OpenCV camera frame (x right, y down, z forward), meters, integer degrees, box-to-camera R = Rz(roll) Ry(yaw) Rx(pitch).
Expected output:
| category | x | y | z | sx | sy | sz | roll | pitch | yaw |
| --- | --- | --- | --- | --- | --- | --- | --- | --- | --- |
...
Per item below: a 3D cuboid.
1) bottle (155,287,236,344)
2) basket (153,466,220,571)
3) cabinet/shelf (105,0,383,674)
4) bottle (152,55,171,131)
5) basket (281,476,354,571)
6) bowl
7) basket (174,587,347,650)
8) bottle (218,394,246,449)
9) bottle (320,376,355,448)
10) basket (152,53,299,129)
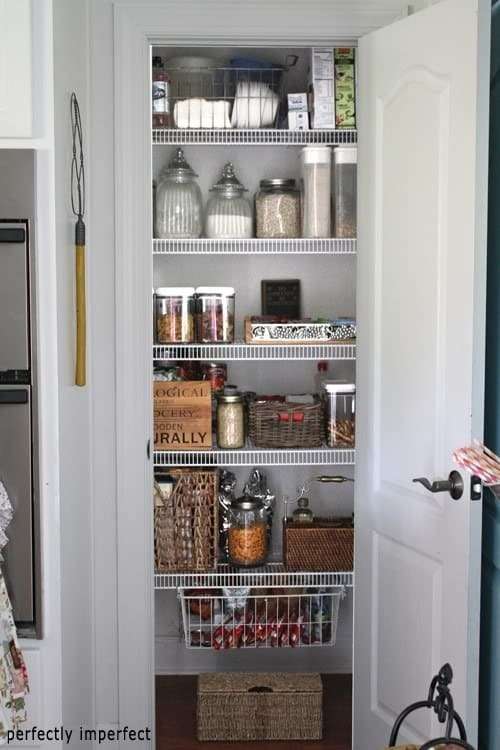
| category | x | y | z | sx | sy | sz | roll | pitch | yaw |
| --- | --- | --- | --- | --- | --- | --- | --- | --- | --- |
| bottle | -0.173 | -0.192 | 2.305 | 0.250 | 0.182 | 0.098 | -3 | 6 | -8 |
| basket | -0.196 | 0.459 | 2.474 | 0.216 | 0.410 | 0.250 | 0 | 1 | -2 |
| cabinet/shelf | -0.027 | 0.031 | 2.298 | 0.731 | 2.229 | 0.795 | -1 | 6 | 8 |
| bottle | -0.271 | -0.858 | 2.248 | 0.038 | 0.181 | 0.103 | 1 | 7 | 27 |
| basket | 0.237 | 0.476 | 2.422 | 0.261 | 0.314 | 0.247 | 2 | -2 | 13 |
| bowl | -0.061 | -0.824 | 2.271 | 0.231 | 0.116 | 0.176 | -5 | 13 | -4 |
| basket | 0.028 | 0.773 | 2.385 | 0.397 | 0.189 | 0.293 | 0 | -11 | -2 |
| bottle | -0.056 | 0.143 | 2.438 | 0.109 | 0.265 | 0.130 | 1 | 3 | 0 |
| bottle | 0.289 | 0.141 | 2.357 | 0.080 | 0.187 | 0.081 | 1 | -4 | 0 |
| basket | -0.092 | -0.836 | 2.309 | 0.366 | 0.236 | 0.261 | 0 | 9 | -4 |
